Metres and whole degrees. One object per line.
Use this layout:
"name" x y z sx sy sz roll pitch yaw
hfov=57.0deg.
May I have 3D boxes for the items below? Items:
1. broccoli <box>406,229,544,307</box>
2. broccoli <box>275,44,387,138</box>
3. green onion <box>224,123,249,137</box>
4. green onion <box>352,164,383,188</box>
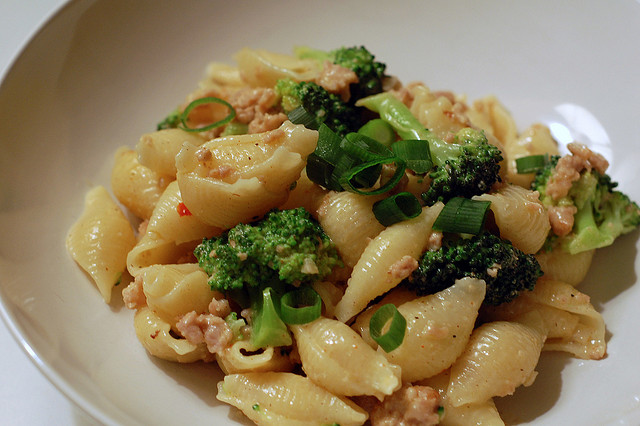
"broccoli" 0.871 0.290 3.260 0.658 0.435 0.426 3 4 35
"broccoli" 0.033 -0.817 3.979 0.721 0.774 0.578 -9 29 -25
"green onion" -0.554 -0.550 3.870 0.099 0.056 0.103 -2 -4 32
"green onion" 0.277 -0.207 3.378 0.176 0.120 0.056 -14 50 -14
